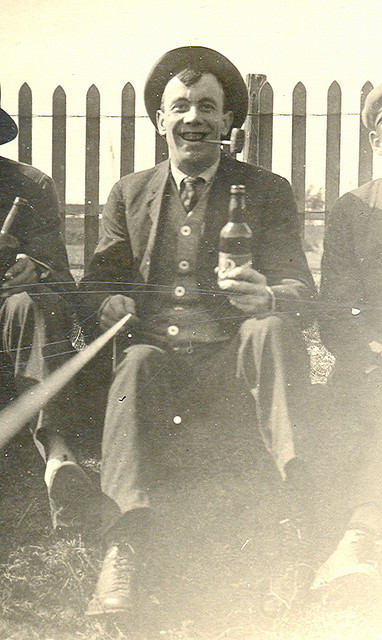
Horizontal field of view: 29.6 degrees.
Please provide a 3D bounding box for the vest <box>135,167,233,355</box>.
[{"bbox_3d":[-0.019,-0.212,2.668,0.350,0.668,0.054,1,4,-5],"label":"vest"}]

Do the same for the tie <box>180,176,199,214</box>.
[{"bbox_3d":[-0.001,-0.471,2.722,0.077,0.121,0.030,1,5,0],"label":"tie"}]
